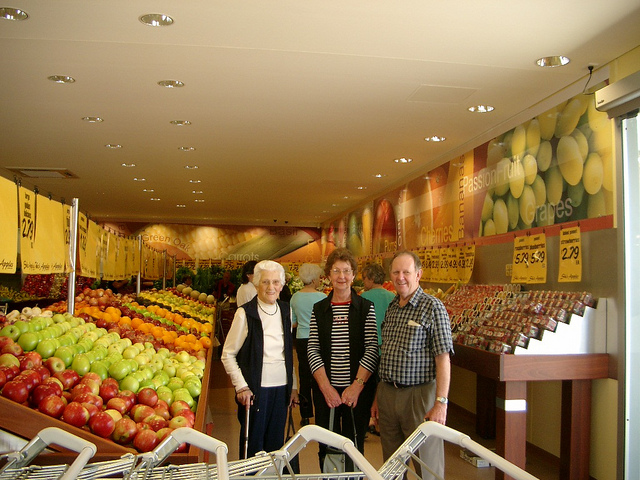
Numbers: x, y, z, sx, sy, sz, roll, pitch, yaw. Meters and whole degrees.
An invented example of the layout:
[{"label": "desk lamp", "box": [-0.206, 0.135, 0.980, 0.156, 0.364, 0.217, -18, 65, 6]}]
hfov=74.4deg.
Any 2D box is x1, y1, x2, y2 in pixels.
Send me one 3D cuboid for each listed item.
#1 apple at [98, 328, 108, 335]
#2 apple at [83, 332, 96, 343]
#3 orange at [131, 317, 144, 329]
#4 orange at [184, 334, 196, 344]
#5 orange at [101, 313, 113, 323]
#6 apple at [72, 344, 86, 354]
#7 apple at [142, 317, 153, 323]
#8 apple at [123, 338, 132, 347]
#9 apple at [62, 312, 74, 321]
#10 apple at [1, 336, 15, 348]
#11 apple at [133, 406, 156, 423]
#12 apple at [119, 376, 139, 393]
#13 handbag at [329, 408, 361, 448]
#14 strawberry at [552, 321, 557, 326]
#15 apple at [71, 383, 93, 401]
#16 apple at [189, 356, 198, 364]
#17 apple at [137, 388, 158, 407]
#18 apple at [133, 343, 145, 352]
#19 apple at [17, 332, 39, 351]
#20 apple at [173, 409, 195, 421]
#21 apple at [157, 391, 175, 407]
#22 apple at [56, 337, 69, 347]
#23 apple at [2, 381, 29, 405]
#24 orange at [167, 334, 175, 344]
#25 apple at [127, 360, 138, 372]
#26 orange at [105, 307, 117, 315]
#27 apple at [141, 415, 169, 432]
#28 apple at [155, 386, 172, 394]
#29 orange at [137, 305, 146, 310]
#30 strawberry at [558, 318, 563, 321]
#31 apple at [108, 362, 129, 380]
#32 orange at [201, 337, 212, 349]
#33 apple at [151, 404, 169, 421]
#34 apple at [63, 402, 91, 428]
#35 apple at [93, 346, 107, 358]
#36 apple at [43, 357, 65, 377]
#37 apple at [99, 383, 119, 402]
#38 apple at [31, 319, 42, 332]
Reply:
[{"label": "apple", "box": [-1.509, 0.636, 2.965, 0.019, 0.058, 0.058, -34, -26, -14]}, {"label": "apple", "box": [-1.461, 0.623, 2.694, 0.060, 0.062, 0.061, 18, -27, -30]}, {"label": "orange", "box": [-1.622, 0.747, 3.762, 0.071, 0.082, 0.079, 1, -7, 27]}, {"label": "orange", "box": [-1.160, 0.889, 3.800, 0.062, 0.064, 0.074, 8, 8, -18]}, {"label": "orange", "box": [-1.775, 0.651, 3.552, 0.062, 0.076, 0.060, -19, 21, -38]}, {"label": "apple", "box": [-1.367, 0.626, 2.414, 0.071, 0.043, 0.094, 1, -5, -11]}, {"label": "apple", "box": [-1.644, 0.756, 4.045, 0.066, 0.041, 0.093, 10, -8, -4]}, {"label": "apple", "box": [-1.293, 0.697, 2.867, 0.050, 0.049, 0.051, -2, -21, 36]}, {"label": "apple", "box": [-1.772, 0.539, 2.977, 0.058, 0.053, 0.050, -6, 32, -26]}, {"label": "apple", "box": [-1.584, 0.522, 2.156, 0.051, 0.054, 0.053, 5, 11, -12]}, {"label": "apple", "box": [-0.824, 0.813, 1.998, 0.062, 0.067, 0.064, -13, 6, -43]}, {"label": "apple", "box": [-1.002, 0.765, 2.234, 0.074, 0.074, 0.077, 10, -49, 3]}, {"label": "handbag", "box": [0.159, 1.188, 2.688, 0.197, 0.244, 0.193, 0, -5, 2]}, {"label": "strawberry", "box": [1.744, 0.628, 3.162, 0.029, 0.029, 0.028, 2, -22, 5]}, {"label": "apple", "box": [-1.118, 0.721, 2.001, 0.058, 0.073, 0.059, 1, -2, -8]}, {"label": "apple", "box": [-0.902, 0.862, 3.023, 0.058, 0.034, 0.060, -3, -14, 43]}, {"label": "apple", "box": [-0.866, 0.802, 2.136, 0.097, 0.081, 0.071, 0, -5, 6]}, {"label": "apple", "box": [-1.210, 0.719, 2.839, 0.044, 0.045, 0.045, -9, 11, -3]}, {"label": "apple", "box": [-1.562, 0.551, 2.277, 0.086, 0.085, 0.090, -12, -4, -1]}, {"label": "apple", "box": [-0.666, 0.860, 2.065, 0.057, 0.059, 0.060, -6, -33, 9]}, {"label": "apple", "box": [-0.801, 0.839, 2.231, 0.061, 0.067, 0.064, -27, -12, -6]}, {"label": "apple", "box": [-1.469, 0.588, 2.430, 0.060, 0.041, 0.086, 4, -6, -36]}, {"label": "apple", "box": [-1.305, 0.667, 1.822, 0.094, 0.098, 0.071, 4, -6, -36]}, {"label": "orange", "box": [-1.281, 0.860, 3.661, 0.053, 0.071, 0.123, 2, -6, -21]}, {"label": "apple", "box": [-1.063, 0.723, 2.410, 0.028, 0.054, 0.052, -7, -7, -19]}, {"label": "orange", "box": [-1.849, 0.625, 3.742, 0.066, 0.070, 0.081, 1, 6, -17]}, {"label": "apple", "box": [-0.742, 0.827, 1.945, 0.066, 0.066, 0.064, -14, 14, -33]}, {"label": "apple", "box": [-0.856, 0.814, 2.309, 0.039, 0.043, 0.050, -18, -17, 12]}, {"label": "orange", "box": [-1.973, 0.763, 4.704, 0.045, 0.048, 0.055, 13, 6, 39]}, {"label": "strawberry", "box": [1.811, 0.604, 3.193, 0.055, 0.020, 0.007, 3, -6, -28]}, {"label": "apple", "box": [-1.088, 0.715, 2.294, 0.074, 0.078, 0.074, 22, -49, 1]}, {"label": "orange", "box": [-1.045, 0.951, 3.908, 0.092, 0.096, 0.045, 10, -25, -44]}, {"label": "apple", "box": [-0.773, 0.848, 2.063, 0.058, 0.074, 0.062, -7, -14, 5]}, {"label": "apple", "box": [-1.048, 0.758, 1.821, 0.088, 0.087, 0.090, 35, 4, -25]}, {"label": "apple", "box": [-1.313, 0.693, 2.563, 0.058, 0.061, 0.058, -15, 30, 10]}, {"label": "apple", "box": [-1.375, 0.654, 2.202, 0.081, 0.082, 0.080, -12, 38, -38]}, {"label": "apple", "box": [-1.029, 0.743, 2.065, 0.069, 0.072, 0.072, 0, -23, 41]}, {"label": "apple", "box": [-1.668, 0.506, 2.505, 0.020, 0.061, 0.059, -19, -6, -18]}]
